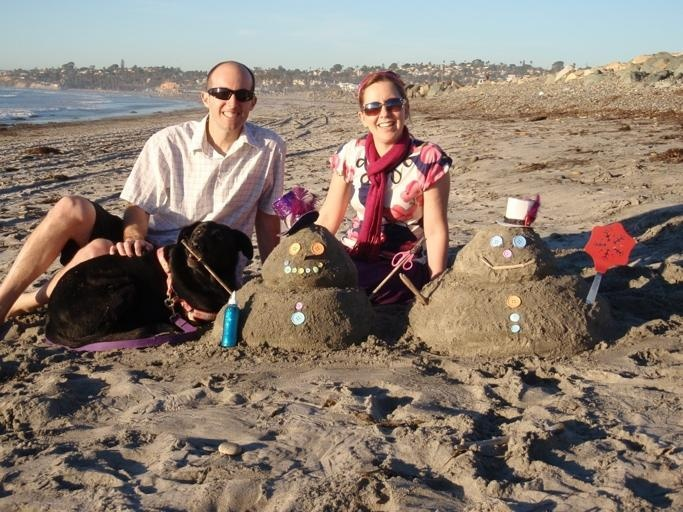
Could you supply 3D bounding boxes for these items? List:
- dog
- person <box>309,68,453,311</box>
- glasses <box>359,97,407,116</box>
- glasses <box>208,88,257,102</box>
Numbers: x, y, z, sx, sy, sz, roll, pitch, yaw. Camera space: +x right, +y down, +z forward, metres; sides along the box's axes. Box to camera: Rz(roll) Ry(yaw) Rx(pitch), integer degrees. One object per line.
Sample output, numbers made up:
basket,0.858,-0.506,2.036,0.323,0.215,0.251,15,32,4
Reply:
dog,-1.246,0.166,4.095,0.909,0.497,1.490,26,21,34
person,0.326,-0.403,4.273,0.655,1.578,1.052,-24,34,-36
glasses,0.263,-0.946,4.082,0.257,0.115,0.088,0,26,3
glasses,-0.738,-1.081,4.299,0.317,0.100,0.138,-5,24,-11
